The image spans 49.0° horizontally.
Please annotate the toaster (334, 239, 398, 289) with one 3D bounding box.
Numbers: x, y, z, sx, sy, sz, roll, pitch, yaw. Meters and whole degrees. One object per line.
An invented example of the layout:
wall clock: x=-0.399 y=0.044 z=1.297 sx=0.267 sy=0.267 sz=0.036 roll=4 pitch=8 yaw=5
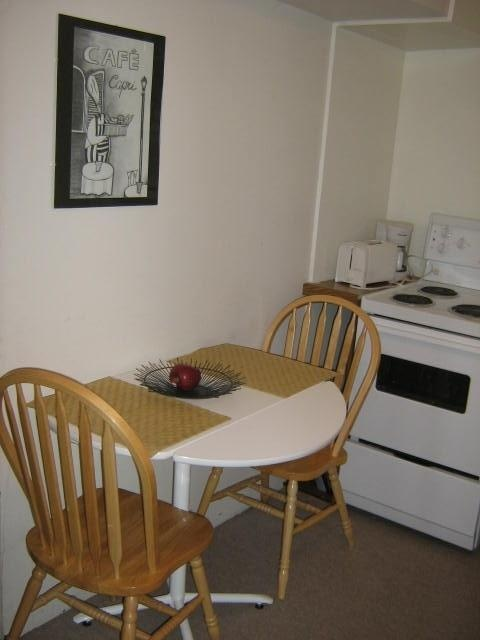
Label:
toaster: x=0.607 y=-0.269 z=2.437 sx=0.271 sy=0.223 sz=0.299 roll=16 pitch=16 yaw=43
